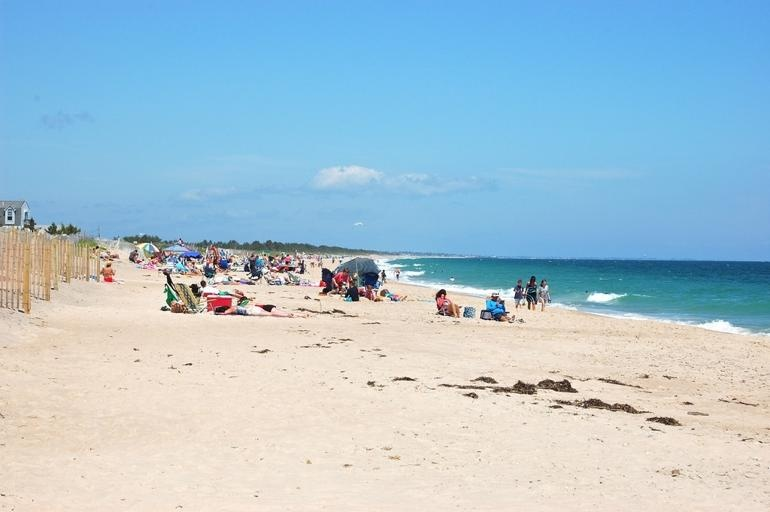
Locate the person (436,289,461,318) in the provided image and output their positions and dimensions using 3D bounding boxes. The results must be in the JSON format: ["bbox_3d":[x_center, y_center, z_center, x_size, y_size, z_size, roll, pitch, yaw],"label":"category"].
[{"bbox_3d":[2.843,2.143,36.030,0.789,1.305,1.224,12,-34,-37],"label":"person"}]

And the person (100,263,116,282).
[{"bbox_3d":[-12.986,0.756,37.307,0.499,0.846,1.312,6,5,-22],"label":"person"}]

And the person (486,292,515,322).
[{"bbox_3d":[4.532,2.126,32.158,0.798,0.623,1.511,4,34,-1],"label":"person"}]
